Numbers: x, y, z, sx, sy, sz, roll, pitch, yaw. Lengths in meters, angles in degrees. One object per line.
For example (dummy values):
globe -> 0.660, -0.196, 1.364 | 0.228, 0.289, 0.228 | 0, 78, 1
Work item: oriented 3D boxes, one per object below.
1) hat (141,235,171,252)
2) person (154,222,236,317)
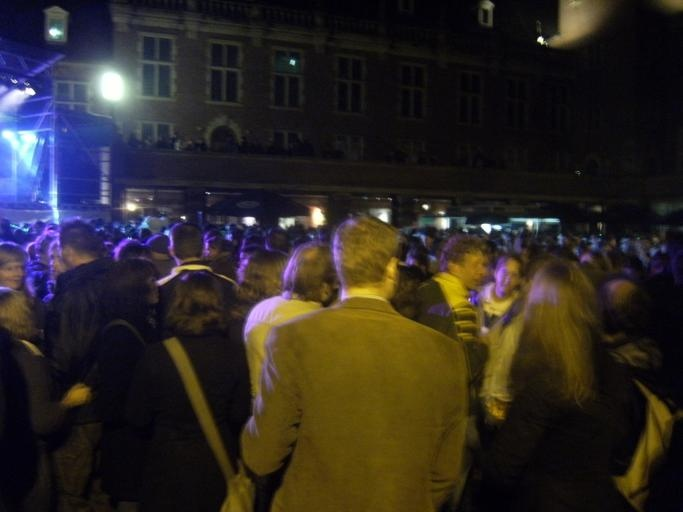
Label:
hat -> -2.101, -0.161, 7.787 | 0.307, 0.248, 0.300 | -1, -14, 1
person -> -1.369, 0.133, 6.279 | 0.779, 0.675, 0.379 | -12, 19, -27
